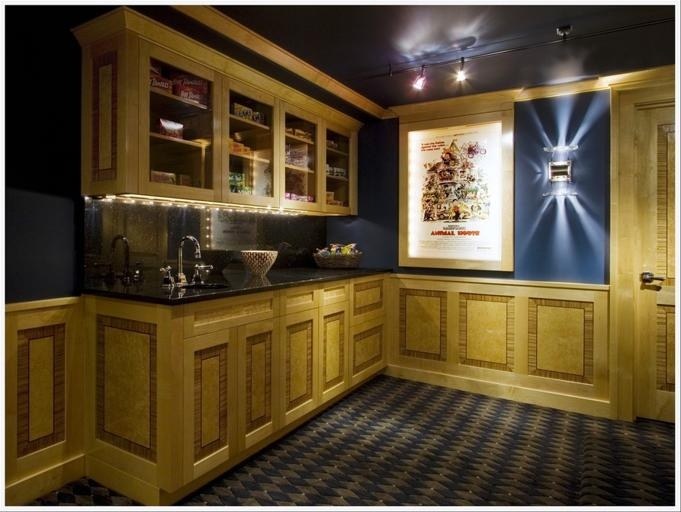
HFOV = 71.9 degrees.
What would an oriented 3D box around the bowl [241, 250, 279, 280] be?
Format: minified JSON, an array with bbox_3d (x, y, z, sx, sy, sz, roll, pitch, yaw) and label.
[{"bbox_3d":[-0.695,0.078,4.023,0.251,0.173,0.252,0,-1,0],"label":"bowl"}]

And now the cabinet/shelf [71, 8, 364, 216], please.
[{"bbox_3d":[-0.843,-1.001,3.783,2.228,1.379,0.425,-8,13,-43],"label":"cabinet/shelf"}]

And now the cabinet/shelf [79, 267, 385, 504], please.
[{"bbox_3d":[-0.826,0.936,3.284,0.450,0.680,1.555,-1,0,33],"label":"cabinet/shelf"}]
